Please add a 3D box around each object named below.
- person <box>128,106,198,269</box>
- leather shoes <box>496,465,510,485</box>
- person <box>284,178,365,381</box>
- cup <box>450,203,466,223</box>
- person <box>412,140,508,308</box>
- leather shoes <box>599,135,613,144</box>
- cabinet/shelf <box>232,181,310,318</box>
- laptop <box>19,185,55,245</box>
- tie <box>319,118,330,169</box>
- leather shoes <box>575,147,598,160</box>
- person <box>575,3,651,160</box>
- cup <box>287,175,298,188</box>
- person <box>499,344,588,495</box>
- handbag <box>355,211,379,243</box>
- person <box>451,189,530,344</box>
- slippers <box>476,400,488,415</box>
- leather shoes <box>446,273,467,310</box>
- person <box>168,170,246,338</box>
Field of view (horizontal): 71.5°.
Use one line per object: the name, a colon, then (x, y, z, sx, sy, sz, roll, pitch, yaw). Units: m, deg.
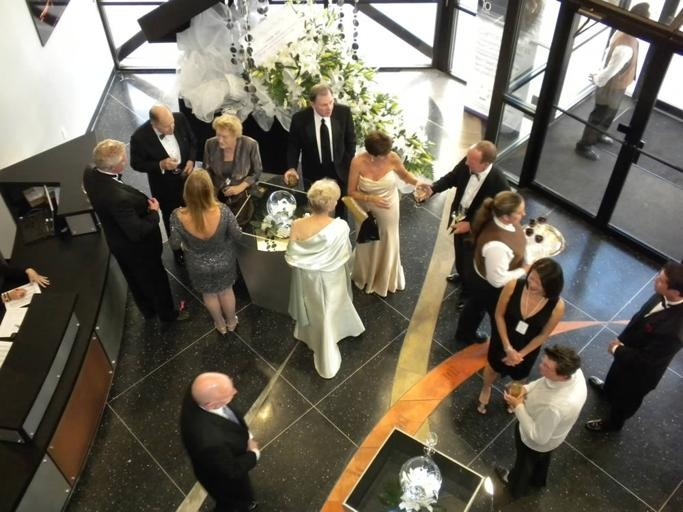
person: (-2.166, -0.898, 6.093, 0.770, 2.202, 0.613, -30, 57, -28)
leather shoes: (1.509, 2.028, 4.444, 0.076, 0.061, 0.226, -16, 52, -3)
person: (-0.152, 0.314, 4.974, 0.699, 1.832, 0.773, -26, 44, -28)
cup: (1.311, -0.435, 5.365, 0.175, 0.174, 0.141, 14, 48, 14)
person: (1.336, -0.285, 5.498, 0.916, 2.103, 0.763, -33, 60, -10)
leather shoes: (3.438, -1.514, 6.129, 0.088, 0.162, 0.251, 0, 11, 0)
cabinet/shelf: (-0.774, -0.101, 5.254, 0.815, 1.032, 0.947, -35, 61, -26)
laptop: (-3.601, -0.485, 5.627, 0.464, 0.185, 0.795, -12, 56, -14)
tie: (-0.193, -1.363, 5.779, 0.128, 0.590, 0.080, -3, 38, -3)
leather shoes: (3.384, -1.419, 6.509, 0.308, 0.132, 0.106, 36, 89, 31)
person: (3.326, -2.183, 5.736, 0.538, 1.723, 0.574, 7, 64, 17)
cup: (-0.578, -0.892, 5.705, 0.127, 0.093, 0.136, 1, 92, 18)
person: (1.742, 1.469, 4.081, 0.461, 1.363, 0.534, 30, 68, 21)
handbag: (0.300, -0.322, 5.289, 0.262, 0.291, 0.182, 12, 62, 9)
person: (1.494, 0.114, 4.718, 0.557, 1.632, 0.655, -1, 65, 11)
slippers: (1.465, 1.561, 4.867, 0.103, 0.116, 0.103, 7, 39, 10)
leather shoes: (1.427, 0.418, 5.852, 0.132, 0.191, 0.454, -10, 56, 13)
person: (-1.389, 0.039, 5.035, 0.689, 2.023, 0.328, -17, 41, -20)
